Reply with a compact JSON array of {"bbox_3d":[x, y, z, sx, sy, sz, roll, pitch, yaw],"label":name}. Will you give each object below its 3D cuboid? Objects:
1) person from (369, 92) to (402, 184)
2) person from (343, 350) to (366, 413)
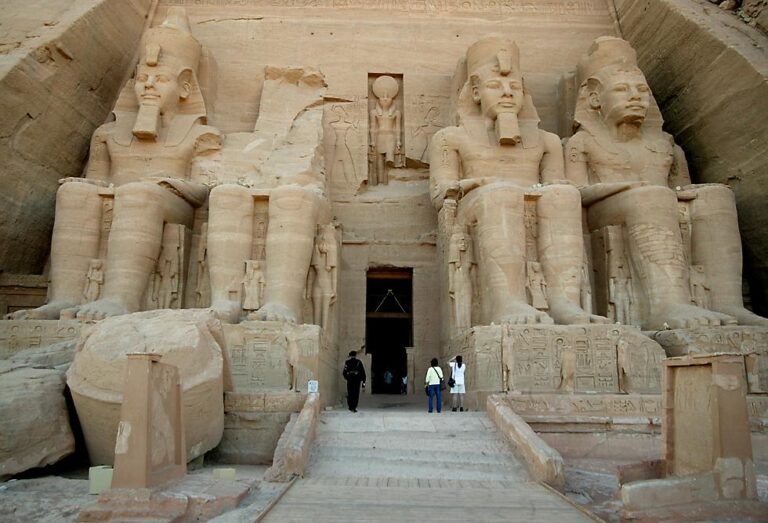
[{"bbox_3d":[0.023,-2.340,10.656,0.590,1.445,0.410,1,-1,-2],"label":"person"},{"bbox_3d":[-0.359,1.443,7.012,0.252,0.557,0.854,1,0,-4],"label":"person"}]
